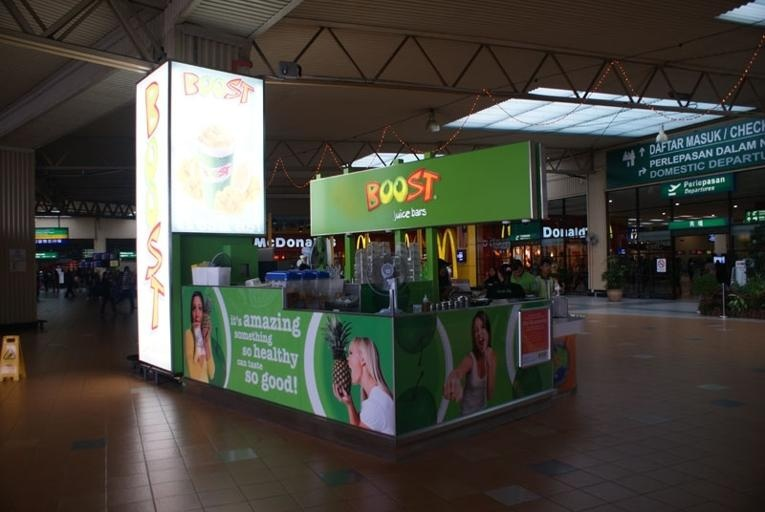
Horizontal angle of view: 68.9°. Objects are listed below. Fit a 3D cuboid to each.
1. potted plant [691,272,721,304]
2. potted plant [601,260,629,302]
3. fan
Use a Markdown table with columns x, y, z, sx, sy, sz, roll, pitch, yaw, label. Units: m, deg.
| x | y | z | sx | sy | sz | roll | pitch | yaw | label |
| --- | --- | --- | --- | --- | --- | --- | --- | --- | --- |
| 9.717 | 0.977 | 16.964 | 0.923 | 0.994 | 0.843 | -1 | -6 | 0 | potted plant |
| 9.039 | 0.937 | 21.823 | 0.784 | 1.512 | 1.515 | 2 | 7 | 23 | potted plant |
| 0.021 | 0.302 | 7.906 | 0.661 | 1.497 | 0.618 | -3 | -6 | 21 | fan |
